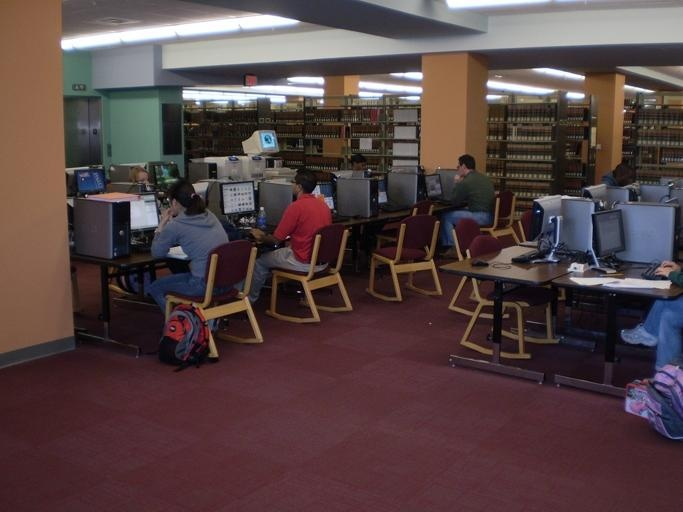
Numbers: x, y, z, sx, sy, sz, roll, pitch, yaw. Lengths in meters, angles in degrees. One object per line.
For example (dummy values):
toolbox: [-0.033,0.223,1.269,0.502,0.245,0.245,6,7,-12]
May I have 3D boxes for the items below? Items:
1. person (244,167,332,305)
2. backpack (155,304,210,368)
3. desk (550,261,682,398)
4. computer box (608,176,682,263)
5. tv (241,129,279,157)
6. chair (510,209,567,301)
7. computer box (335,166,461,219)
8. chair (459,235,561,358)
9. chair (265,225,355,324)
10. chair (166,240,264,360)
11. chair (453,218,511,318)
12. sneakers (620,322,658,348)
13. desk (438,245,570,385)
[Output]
person: [-0.549,-0.150,5.513,0.869,1.402,0.659,-1,13,-2]
backpack: [-1.322,0.660,4.418,0.384,0.441,0.461,12,16,27]
desk: [2.081,0.571,4.060,0.747,0.642,1.370,4,15,24]
computer box: [2.840,-0.322,4.911,0.572,0.691,1.034,5,11,40]
tv: [-1.388,-1.886,8.953,0.514,0.393,0.518,2,8,28]
chair: [1.799,-0.193,4.696,0.344,0.471,0.693,10,12,32]
computer box: [0.515,-0.900,7.571,0.628,0.507,1.609,9,16,35]
chair: [1.539,0.331,4.781,0.757,0.981,0.732,6,9,34]
chair: [-0.354,0.138,5.626,0.926,0.953,0.914,-2,6,-16]
chair: [-1.142,0.334,4.667,0.836,0.929,0.847,-1,6,-24]
chair: [1.474,0.104,5.538,0.638,0.930,0.675,-6,15,-33]
sneakers: [2.472,0.679,4.406,0.190,0.154,0.321,-10,15,-38]
desk: [1.491,0.582,4.955,0.918,0.770,1.645,3,-1,17]
